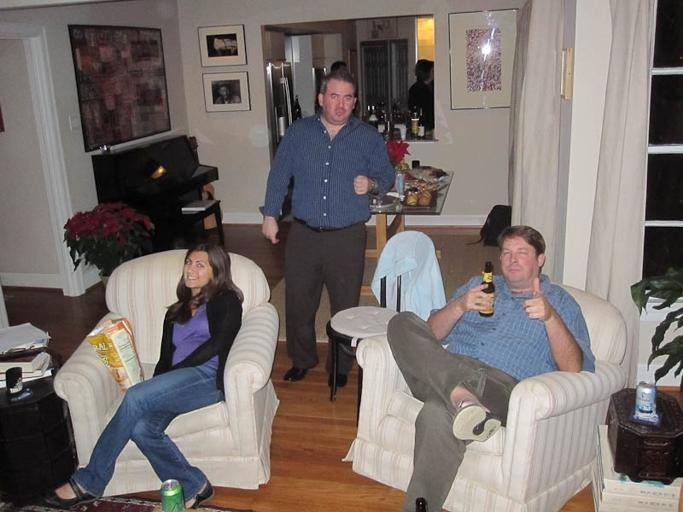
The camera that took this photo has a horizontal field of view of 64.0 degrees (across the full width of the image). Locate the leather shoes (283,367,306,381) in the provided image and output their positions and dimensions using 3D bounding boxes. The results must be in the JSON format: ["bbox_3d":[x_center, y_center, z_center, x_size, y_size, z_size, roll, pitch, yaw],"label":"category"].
[{"bbox_3d":[-0.340,0.869,3.994,0.082,0.062,0.145,5,5,15],"label":"leather shoes"}]

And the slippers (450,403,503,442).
[{"bbox_3d":[0.633,0.777,2.588,0.245,0.145,0.095,20,23,-33],"label":"slippers"}]

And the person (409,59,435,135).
[{"bbox_3d":[1.064,-2.136,7.286,0.318,0.877,0.373,-1,15,6],"label":"person"}]

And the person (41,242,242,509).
[{"bbox_3d":[-0.957,0.663,2.989,0.592,1.316,1.033,8,18,35],"label":"person"}]

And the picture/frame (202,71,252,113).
[{"bbox_3d":[-1.518,-2.203,7.313,0.528,0.464,0.019,2,18,7],"label":"picture/frame"}]

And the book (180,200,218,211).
[{"bbox_3d":[-1.703,-0.591,6.534,0.300,0.093,0.454,-2,15,3],"label":"book"}]

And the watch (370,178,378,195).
[{"bbox_3d":[0.221,-0.460,3.684,0.059,0.085,0.081,1,-8,-16],"label":"watch"}]

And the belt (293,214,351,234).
[{"bbox_3d":[-0.150,-0.217,3.738,0.430,0.104,0.104,1,15,16],"label":"belt"}]

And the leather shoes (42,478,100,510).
[{"bbox_3d":[-1.427,1.269,2.950,0.324,0.143,0.137,4,18,-23],"label":"leather shoes"}]

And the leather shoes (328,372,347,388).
[{"bbox_3d":[-0.024,0.867,3.842,0.077,0.083,0.186,0,14,7],"label":"leather shoes"}]

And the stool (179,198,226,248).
[{"bbox_3d":[-1.672,-0.375,6.762,0.495,0.646,0.642,-14,27,-16],"label":"stool"}]

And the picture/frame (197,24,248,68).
[{"bbox_3d":[-1.542,-2.763,7.164,0.535,0.439,0.013,3,19,10],"label":"picture/frame"}]

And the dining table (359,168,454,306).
[{"bbox_3d":[0.526,-0.161,4.477,0.728,0.707,1.417,5,41,13],"label":"dining table"}]

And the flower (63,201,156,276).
[{"bbox_3d":[-2.253,-0.188,5.438,0.745,0.778,0.775,1,28,-2],"label":"flower"}]

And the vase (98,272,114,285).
[{"bbox_3d":[-2.058,0.195,4.756,0.102,0.122,0.115,2,27,0],"label":"vase"}]
